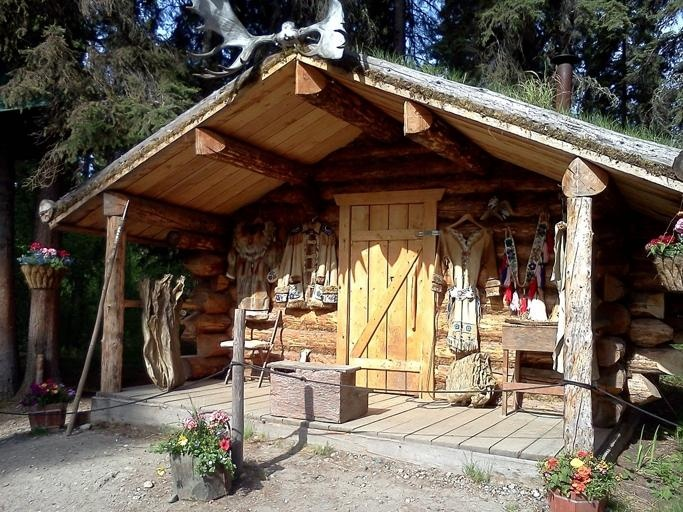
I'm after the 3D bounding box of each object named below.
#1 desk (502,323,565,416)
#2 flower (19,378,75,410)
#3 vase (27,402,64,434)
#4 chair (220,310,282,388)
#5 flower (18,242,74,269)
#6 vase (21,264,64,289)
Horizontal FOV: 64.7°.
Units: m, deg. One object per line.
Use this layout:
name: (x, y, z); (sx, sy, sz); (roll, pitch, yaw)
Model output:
desk: (2.500, 1.537, 7.457); (1.014, 1.445, 1.463); (-1, -4, 21)
flower: (-4.294, 1.981, 7.798); (0.613, 0.431, 0.582); (1, 1, 3)
vase: (-4.122, 2.257, 7.582); (0.438, 0.286, 0.427); (-3, -10, 10)
chair: (-1.528, 1.565, 9.074); (0.954, 1.167, 0.957); (-1, 8, 6)
flower: (-5.546, -0.004, 10.015); (0.590, 0.400, 0.844); (4, 0, 10)
vase: (-5.208, 0.359, 9.403); (0.524, 0.320, 0.544); (-3, -9, 28)
